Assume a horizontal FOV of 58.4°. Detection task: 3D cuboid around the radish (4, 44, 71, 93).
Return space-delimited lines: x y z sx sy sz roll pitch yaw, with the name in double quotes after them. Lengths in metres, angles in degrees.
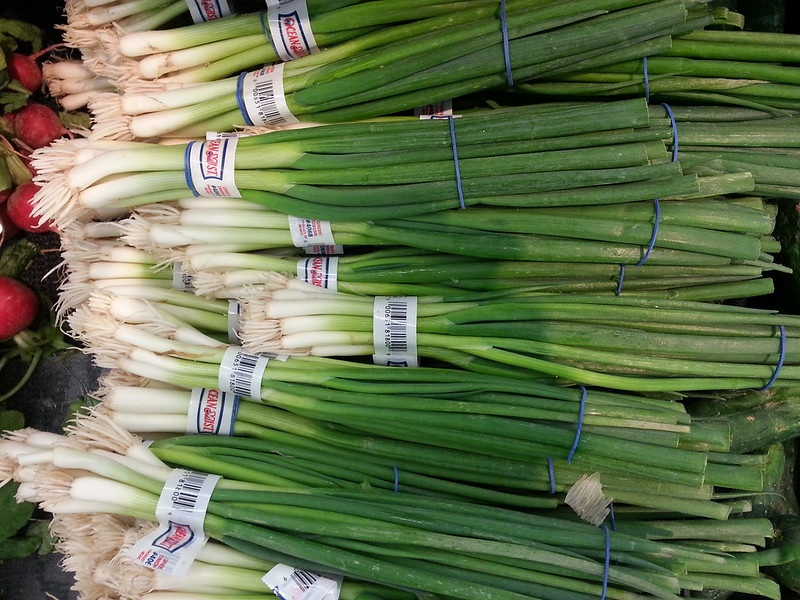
-1.565 -0.988 3.064 0.189 0.099 0.263 20 33 6 "radish"
